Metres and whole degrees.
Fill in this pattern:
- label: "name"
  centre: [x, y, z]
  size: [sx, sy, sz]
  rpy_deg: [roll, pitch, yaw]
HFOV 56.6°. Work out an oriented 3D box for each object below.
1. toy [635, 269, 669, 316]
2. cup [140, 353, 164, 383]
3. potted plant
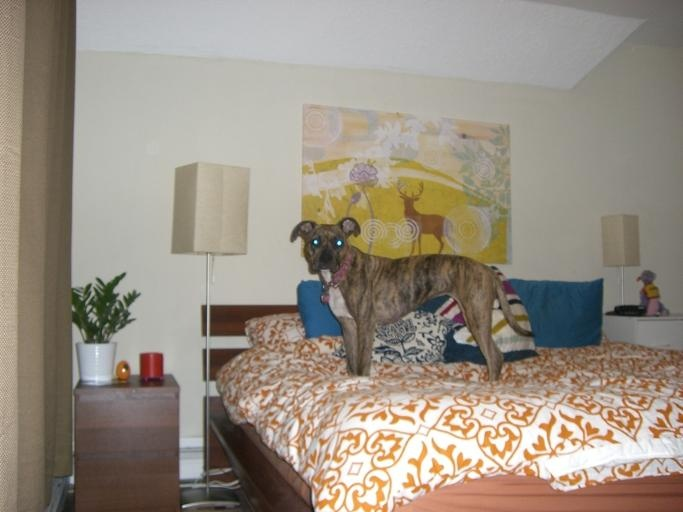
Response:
- label: "toy"
  centre: [1.901, 0.231, 3.921]
  size: [0.146, 0.320, 0.192]
  rpy_deg: [20, -24, -40]
- label: "cup"
  centre: [-0.918, 0.540, 3.081]
  size: [0.113, 0.143, 0.119]
  rpy_deg: [-1, -4, 0]
- label: "potted plant"
  centre: [-1.156, 0.341, 3.165]
  size: [0.335, 0.551, 0.443]
  rpy_deg: [-2, 0, -23]
